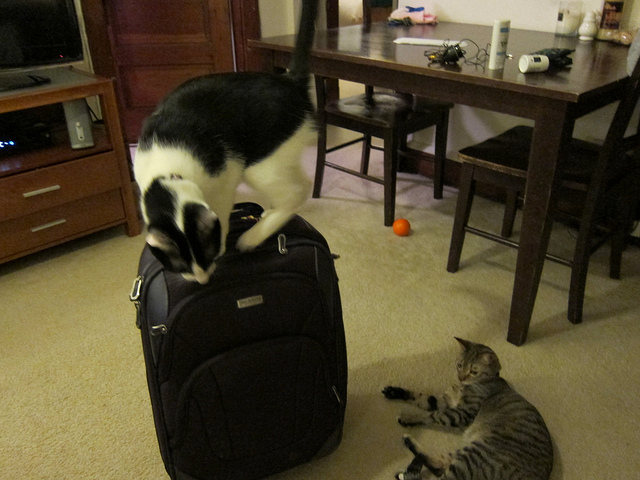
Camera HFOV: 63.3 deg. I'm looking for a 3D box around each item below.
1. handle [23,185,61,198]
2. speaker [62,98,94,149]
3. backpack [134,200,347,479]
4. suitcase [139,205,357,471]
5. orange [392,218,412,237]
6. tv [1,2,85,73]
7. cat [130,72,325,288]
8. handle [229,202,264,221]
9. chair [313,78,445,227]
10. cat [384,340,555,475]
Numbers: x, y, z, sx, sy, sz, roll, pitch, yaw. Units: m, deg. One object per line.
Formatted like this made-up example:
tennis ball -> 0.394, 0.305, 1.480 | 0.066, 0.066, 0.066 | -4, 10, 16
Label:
handle -> -1.202, -0.211, 2.253 | 0.152, 0.022, 0.009 | -22, 38, -31
speaker -> -1.081, -0.526, 2.333 | 0.096, 0.209, 0.097 | -13, 34, -21
backpack -> -0.200, 0.282, 1.364 | 0.540, 0.736, 0.362 | -14, 35, -17
suitcase -> -0.197, 0.283, 1.369 | 0.507, 0.734, 0.360 | -14, 39, -12
orange -> 0.402, -0.059, 2.597 | 0.083, 0.084, 0.086 | -23, 57, 15
tv -> -1.201, -0.877, 2.235 | 0.326, 0.355, 0.035 | -16, 31, -30
cat -> -0.185, -0.140, 1.189 | 0.438, 0.419, 0.250 | -12, 34, -20
handle -> -0.196, -0.076, 1.388 | 0.074, 0.030, 0.049 | -5, 72, 2
chair -> 0.328, -0.425, 2.701 | 0.569, 0.929, 0.497 | 30, 43, 35
cat -> 0.486, 0.560, 1.611 | 0.324, 0.169, 0.429 | -3, 62, -17
